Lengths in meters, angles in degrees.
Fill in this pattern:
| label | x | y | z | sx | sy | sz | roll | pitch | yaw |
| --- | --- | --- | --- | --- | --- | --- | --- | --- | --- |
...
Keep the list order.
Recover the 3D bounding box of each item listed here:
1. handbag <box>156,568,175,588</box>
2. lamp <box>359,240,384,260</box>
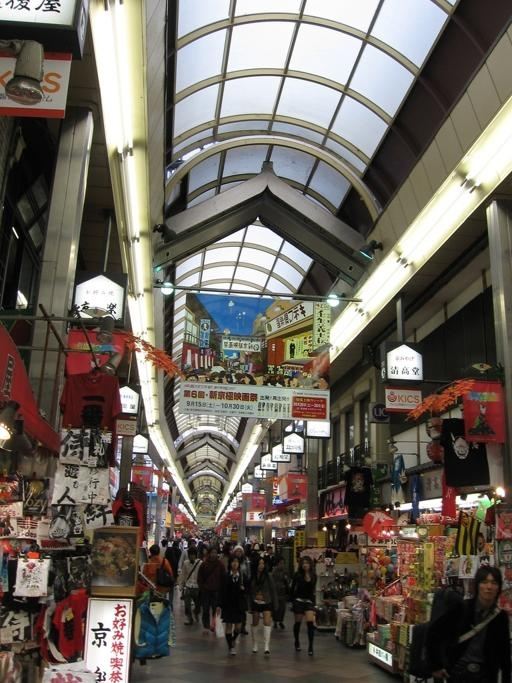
| label | x | y | z | sx | sy | sz | roll | pitch | yaw |
| --- | --- | --- | --- | --- | --- | --- | --- | --- | --- |
| handbag | -1.245 | 3.211 | 7.068 | 0.159 | 0.287 | 0.278 | -28 | -39 | 12 |
| lamp | 2.196 | -1.752 | 10.043 | 0.249 | 0.433 | 0.149 | 30 | -60 | -6 |
